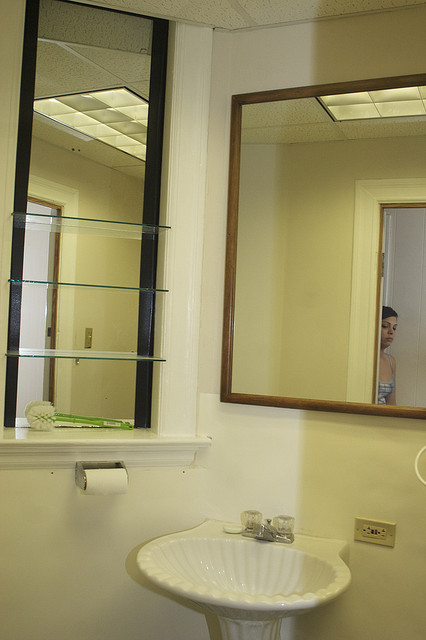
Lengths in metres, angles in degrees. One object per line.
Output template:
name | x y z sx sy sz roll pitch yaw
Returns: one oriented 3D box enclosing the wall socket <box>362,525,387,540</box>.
wall socket | 0.415 0.539 1.350 0.058 0.040 0.013 5 -3 21
